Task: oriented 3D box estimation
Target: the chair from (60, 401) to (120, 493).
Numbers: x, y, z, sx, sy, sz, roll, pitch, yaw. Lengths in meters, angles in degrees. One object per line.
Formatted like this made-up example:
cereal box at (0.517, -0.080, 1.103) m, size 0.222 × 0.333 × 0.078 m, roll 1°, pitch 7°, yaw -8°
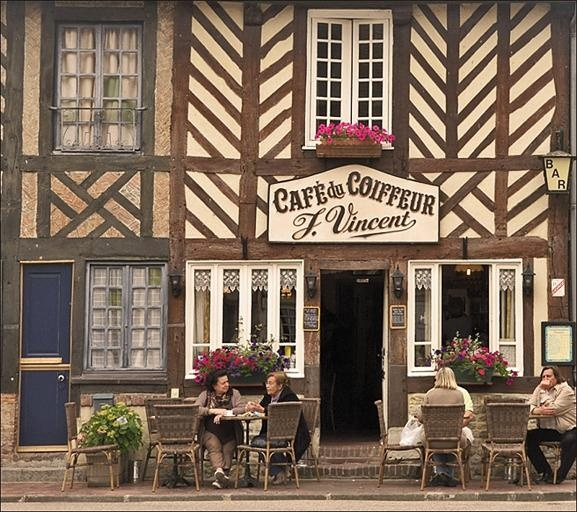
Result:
chair at (-2.966, 2.807, 22.406) m, size 0.848 × 1.283 × 1.257 m, roll 0°, pitch -7°, yaw -9°

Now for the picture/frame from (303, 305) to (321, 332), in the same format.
picture/frame at (0.358, 0.982, 23.393) m, size 0.377 × 0.538 × 0.056 m, roll 0°, pitch -11°, yaw 3°

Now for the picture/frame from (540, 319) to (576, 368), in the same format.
picture/frame at (4.194, 1.356, 23.141) m, size 0.698 × 0.956 × 0.099 m, roll 0°, pitch -2°, yaw 8°

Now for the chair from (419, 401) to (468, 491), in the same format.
chair at (2.201, 2.715, 21.466) m, size 0.628 × 1.189 × 0.633 m, roll -1°, pitch -6°, yaw 3°

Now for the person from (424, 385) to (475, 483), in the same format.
person at (2.238, 2.764, 21.808) m, size 0.833 × 1.189 × 0.886 m, roll 4°, pitch -11°, yaw -20°

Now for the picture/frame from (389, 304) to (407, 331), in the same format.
picture/frame at (1.720, 0.971, 23.415) m, size 0.390 × 0.553 × 0.071 m, roll 0°, pitch -14°, yaw 1°

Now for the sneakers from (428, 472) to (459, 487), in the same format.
sneakers at (2.217, 3.173, 21.571) m, size 0.516 × 0.169 × 0.222 m, roll 3°, pitch 10°, yaw 0°

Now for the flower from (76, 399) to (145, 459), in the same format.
flower at (-2.636, 2.545, 22.357) m, size 0.721 × 0.629 × 0.870 m, roll 0°, pitch -1°, yaw 10°

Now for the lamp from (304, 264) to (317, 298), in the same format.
lamp at (0.358, 0.464, 23.398) m, size 0.179 × 0.406 × 0.160 m, roll -1°, pitch -6°, yaw 1°

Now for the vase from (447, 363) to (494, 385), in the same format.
vase at (2.844, 1.837, 23.154) m, size 0.483 × 0.209 × 0.322 m, roll 2°, pitch -12°, yaw -1°

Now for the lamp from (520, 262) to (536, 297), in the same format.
lamp at (3.741, 0.356, 23.317) m, size 0.199 × 0.555 × 0.143 m, roll -2°, pitch -6°, yaw 10°

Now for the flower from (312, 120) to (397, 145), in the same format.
flower at (0.995, -1.876, 23.391) m, size 0.774 × 0.248 × 0.530 m, roll 1°, pitch 13°, yaw 0°

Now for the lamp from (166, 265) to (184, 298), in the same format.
lamp at (-1.762, 0.417, 23.408) m, size 0.221 × 0.470 × 0.181 m, roll 0°, pitch -6°, yaw -5°

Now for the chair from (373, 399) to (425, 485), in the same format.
chair at (1.662, 2.760, 22.466) m, size 0.669 × 1.243 × 1.884 m, roll -1°, pitch -7°, yaw 4°

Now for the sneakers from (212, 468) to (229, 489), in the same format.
sneakers at (-0.971, 3.197, 21.649) m, size 0.149 × 0.171 × 0.405 m, roll 2°, pitch -43°, yaw -2°

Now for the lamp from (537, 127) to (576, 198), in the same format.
lamp at (4.186, -1.442, 23.269) m, size 0.522 × 1.022 × 0.349 m, roll -2°, pitch -6°, yaw 9°

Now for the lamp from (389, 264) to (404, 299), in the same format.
lamp at (1.711, 0.450, 23.368) m, size 0.214 × 0.430 × 0.218 m, roll -1°, pitch -6°, yaw 4°

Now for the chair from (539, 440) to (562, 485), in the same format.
chair at (3.851, 3.006, 21.981) m, size 0.448 × 0.668 × 0.452 m, roll -2°, pitch -24°, yaw 11°
